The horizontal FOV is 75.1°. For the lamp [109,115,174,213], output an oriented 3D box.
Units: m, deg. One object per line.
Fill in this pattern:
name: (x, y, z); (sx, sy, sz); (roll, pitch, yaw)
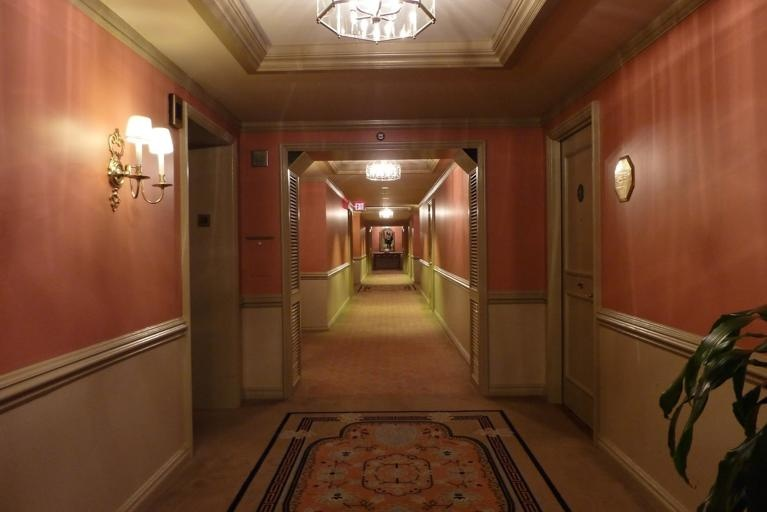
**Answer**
lamp: (-1.669, -0.646, 3.529); (0.314, 0.623, 0.520); (0, 8, 1)
